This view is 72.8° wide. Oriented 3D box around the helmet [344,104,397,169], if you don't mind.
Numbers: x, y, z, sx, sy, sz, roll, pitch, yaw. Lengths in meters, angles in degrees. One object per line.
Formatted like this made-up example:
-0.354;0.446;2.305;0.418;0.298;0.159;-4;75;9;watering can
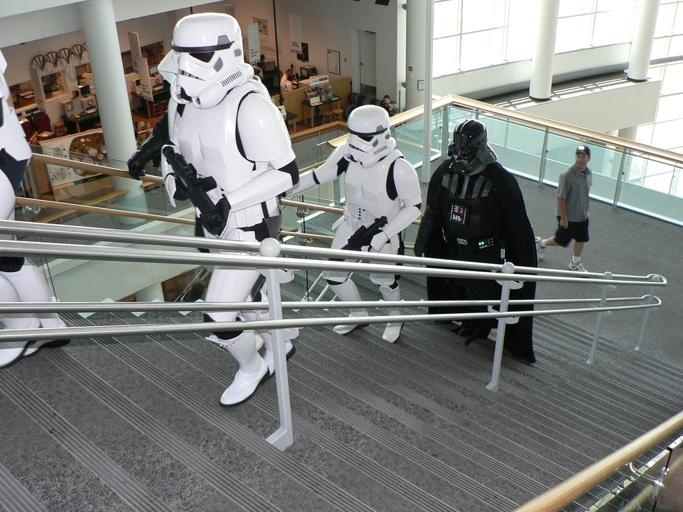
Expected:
0.244;-0.979;3.666;0.411;0.387;0.429;11;44;27;helmet

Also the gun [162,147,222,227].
-0.827;-0.394;2.575;0.131;0.201;0.472;-33;76;-6;gun

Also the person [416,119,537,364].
1.225;-0.102;4.119;1.188;2.104;0.514;16;33;36;person

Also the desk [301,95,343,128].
-0.669;-4.522;14.509;0.689;0.699;1.228;30;46;35;desk

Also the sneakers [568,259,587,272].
2.999;0.130;5.877;0.274;0.114;0.085;4;38;-24;sneakers

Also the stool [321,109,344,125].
-0.241;-4.506;14.916;0.554;0.667;0.722;11;20;29;stool

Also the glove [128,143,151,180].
-1.291;-0.585;3.004;0.109;0.296;0.130;9;59;-25;glove

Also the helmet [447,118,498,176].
1.128;-0.967;3.952;0.460;0.393;0.461;7;34;21;helmet

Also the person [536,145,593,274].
2.949;-0.633;6.007;0.620;1.590;0.735;9;29;25;person

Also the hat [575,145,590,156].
2.964;-1.285;5.710;0.207;0.138;0.290;6;9;28;hat

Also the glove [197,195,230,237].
-0.598;-0.199;2.322;0.087;0.143;0.200;-1;55;-53;glove

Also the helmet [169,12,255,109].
-0.667;-1.029;2.426;0.401;0.399;0.445;12;32;22;helmet

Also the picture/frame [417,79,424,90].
2.311;-4.987;13.521;0.172;0.301;0.081;12;31;31;picture/frame
